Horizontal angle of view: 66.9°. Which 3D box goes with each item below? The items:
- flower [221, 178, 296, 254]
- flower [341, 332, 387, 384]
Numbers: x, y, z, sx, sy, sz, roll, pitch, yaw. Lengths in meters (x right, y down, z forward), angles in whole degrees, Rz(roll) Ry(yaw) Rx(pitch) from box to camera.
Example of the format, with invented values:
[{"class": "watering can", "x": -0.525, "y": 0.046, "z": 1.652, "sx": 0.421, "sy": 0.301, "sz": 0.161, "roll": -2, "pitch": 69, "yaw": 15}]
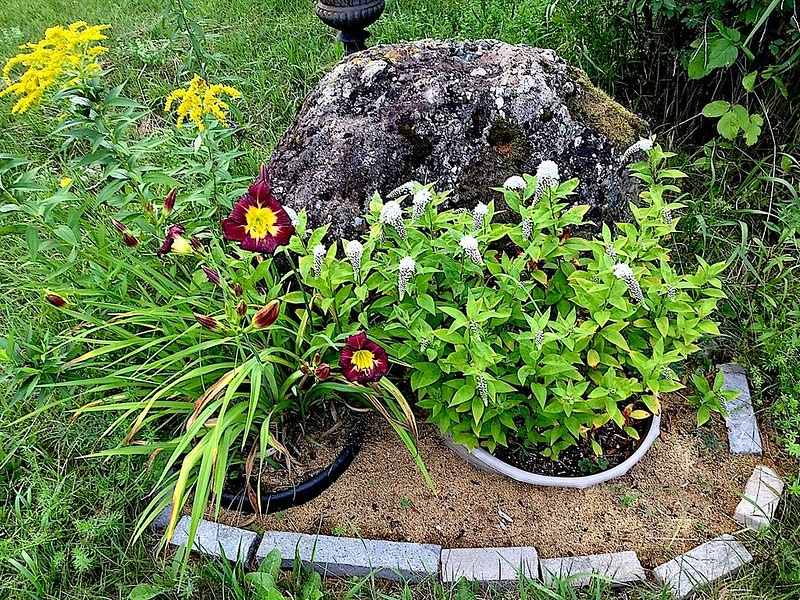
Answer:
[{"class": "flower", "x": -0.539, "y": -0.319, "z": 2.318, "sx": 0.102, "sy": 0.239, "sz": 0.297, "roll": 8, "pitch": 98, "yaw": 55}, {"class": "flower", "x": -0.144, "y": 0.247, "z": 2.438, "sx": 0.184, "sy": 0.251, "sz": 0.154, "roll": -16, "pitch": 59, "yaw": 6}]
